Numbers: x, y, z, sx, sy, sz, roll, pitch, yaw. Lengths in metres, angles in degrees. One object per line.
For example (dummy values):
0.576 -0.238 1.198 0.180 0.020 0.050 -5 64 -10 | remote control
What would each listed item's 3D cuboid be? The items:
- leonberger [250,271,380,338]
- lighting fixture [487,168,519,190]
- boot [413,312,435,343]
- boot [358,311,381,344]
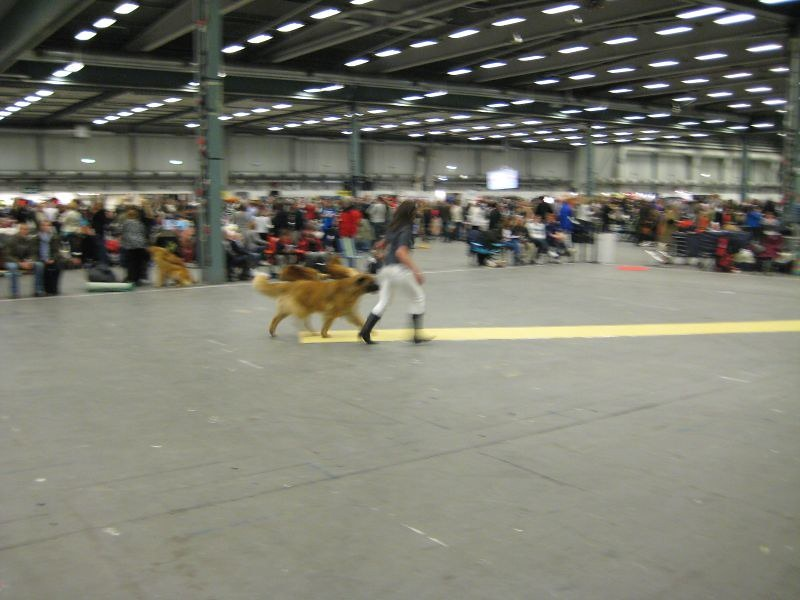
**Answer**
-1.089 0.062 8.982 2.019 0.730 0.438 1 12 26 | leonberger
7.890 -9.283 50.999 2.433 1.121 1.240 -7 14 -37 | lighting fixture
0.304 0.369 8.684 0.249 0.397 0.268 1 7 3 | boot
-0.398 0.366 8.680 0.236 0.420 0.389 0 7 -5 | boot
